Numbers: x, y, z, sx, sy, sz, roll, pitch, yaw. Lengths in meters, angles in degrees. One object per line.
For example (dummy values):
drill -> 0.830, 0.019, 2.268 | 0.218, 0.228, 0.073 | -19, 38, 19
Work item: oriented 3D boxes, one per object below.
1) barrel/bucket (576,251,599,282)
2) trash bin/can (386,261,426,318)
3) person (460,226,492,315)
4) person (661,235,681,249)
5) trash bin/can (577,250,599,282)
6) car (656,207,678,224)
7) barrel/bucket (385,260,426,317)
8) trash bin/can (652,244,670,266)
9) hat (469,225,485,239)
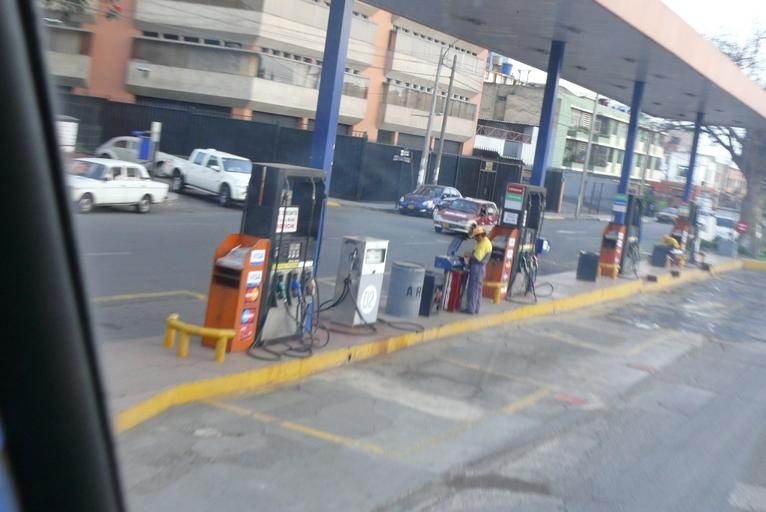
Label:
barrel/bucket -> 6.350, 0.328, 18.438 | 0.585, 0.839, 0.759 | 11, 11, 16
trash bin/can -> 0.445, 0.683, 11.712 | 0.653, 1.003, 0.399 | 8, 10, 1
person -> 2.006, 0.260, 12.827 | 0.512, 1.838, 0.977 | 9, 10, 10
person -> 11.830, -0.519, 24.336 | 0.842, 0.326, 0.634 | 25, 16, -35
trash bin/can -> 6.388, 0.331, 18.466 | 0.645, 0.844, 0.836 | 11, 11, 17
car -> 27.369, -3.850, 57.380 | 1.326, 1.509, 2.231 | 11, 11, 16
barrel/bucket -> 0.445, 0.684, 11.707 | 0.653, 1.003, 0.391 | 8, 10, 1
trash bin/can -> 11.100, -0.012, 23.965 | 0.567, 0.843, 0.803 | 14, 12, 30
hat -> 2.011, -0.485, 12.529 | 0.248, 0.276, 0.474 | 10, 11, 12
